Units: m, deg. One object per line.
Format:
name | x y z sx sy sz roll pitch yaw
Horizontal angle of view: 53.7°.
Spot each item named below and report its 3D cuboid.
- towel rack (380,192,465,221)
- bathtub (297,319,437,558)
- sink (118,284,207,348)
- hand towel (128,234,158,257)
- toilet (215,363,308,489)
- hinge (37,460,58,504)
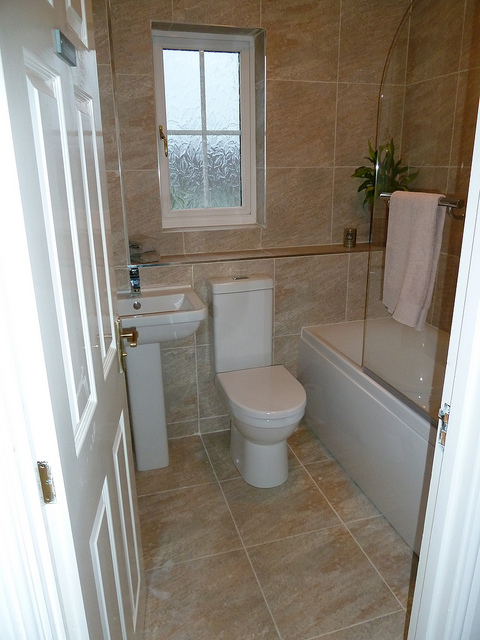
towel rack | 0.609 -0.396 1.626 0.032 0.066 0.411 -9 20 -17
bathtub | 0.555 0.458 2.018 0.437 0.712 1.042 -3 21 -10
sink | -0.355 -0.028 2.145 0.371 0.189 0.423 -9 20 -13
hand towel | -0.468 -0.369 2.297 0.136 0.088 0.056 -9 19 -12
toilet | 0.071 0.484 2.264 0.348 0.521 0.508 -7 22 -14
hinge | -0.227 0.192 0.560 0.015 0.071 0.014 -13 20 -29
